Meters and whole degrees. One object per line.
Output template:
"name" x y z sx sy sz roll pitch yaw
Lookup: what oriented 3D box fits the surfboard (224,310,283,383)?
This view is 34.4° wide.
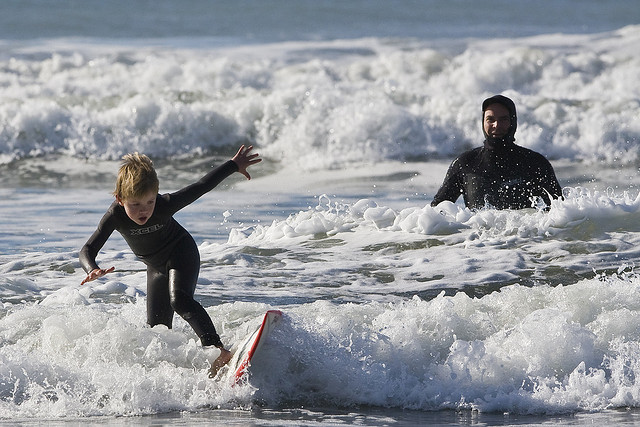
"surfboard" -0.734 1.383 11.010 0.169 0.270 1.107 -31 20 24
